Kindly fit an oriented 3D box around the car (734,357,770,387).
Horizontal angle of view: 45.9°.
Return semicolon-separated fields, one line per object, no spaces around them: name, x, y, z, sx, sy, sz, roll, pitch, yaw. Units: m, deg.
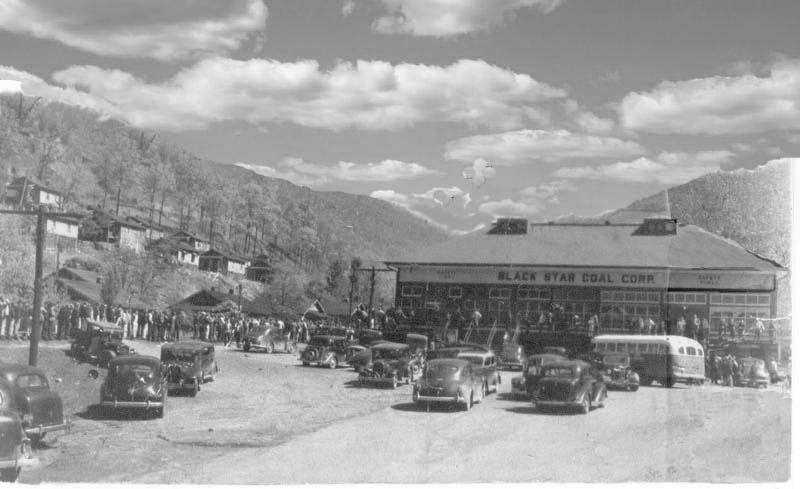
car;23.108;8.395;62.114;1.624;1.455;2.598;1;2;20
